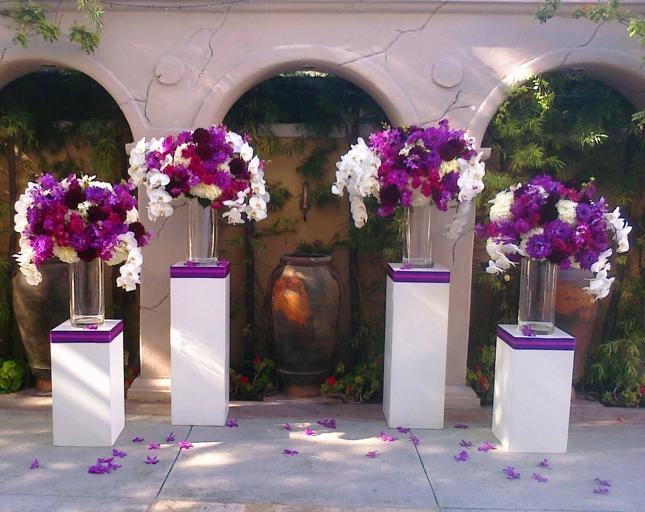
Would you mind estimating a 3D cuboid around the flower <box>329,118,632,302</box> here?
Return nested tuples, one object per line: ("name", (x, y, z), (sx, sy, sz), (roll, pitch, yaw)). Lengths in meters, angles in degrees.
("flower", (1.083, -0.386, 5.915), (1.837, 0.869, 1.220), (8, 14, 8))

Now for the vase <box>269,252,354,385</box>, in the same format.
("vase", (-0.141, 0.540, 6.754), (0.588, 1.094, 0.286), (0, 2, -4))

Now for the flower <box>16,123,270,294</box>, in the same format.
("flower", (-1.248, -0.430, 5.728), (1.610, 0.766, 1.025), (-15, 20, -30))

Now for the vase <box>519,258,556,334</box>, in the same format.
("vase", (1.459, 0.327, 5.746), (0.198, 0.768, 0.202), (11, -37, 3))
